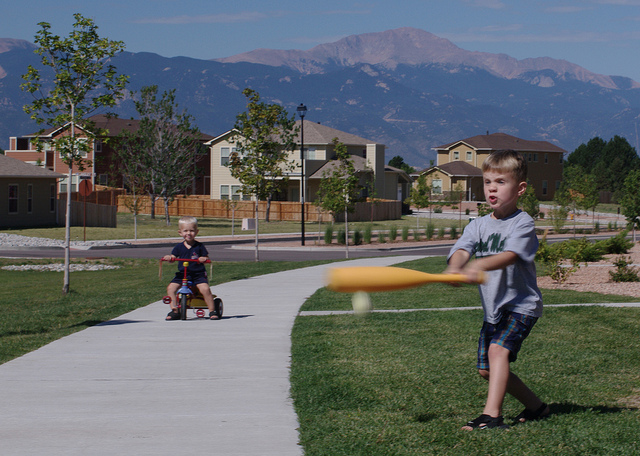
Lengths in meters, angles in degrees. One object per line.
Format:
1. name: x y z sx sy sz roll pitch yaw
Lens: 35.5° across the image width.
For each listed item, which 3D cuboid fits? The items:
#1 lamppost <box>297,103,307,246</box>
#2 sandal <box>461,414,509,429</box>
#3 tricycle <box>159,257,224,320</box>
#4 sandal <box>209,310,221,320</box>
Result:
1. lamppost: -0.766 -1.983 40.358 0.447 4.855 0.571 -1 6 -21
2. sandal: 1.935 2.257 11.634 0.442 0.147 0.165 1 -7 2
3. tricycle: -2.195 1.025 17.176 0.852 1.140 1.261 3 2 -6
4. sandal: -1.770 1.484 16.958 0.131 0.146 0.367 0 -9 -5
